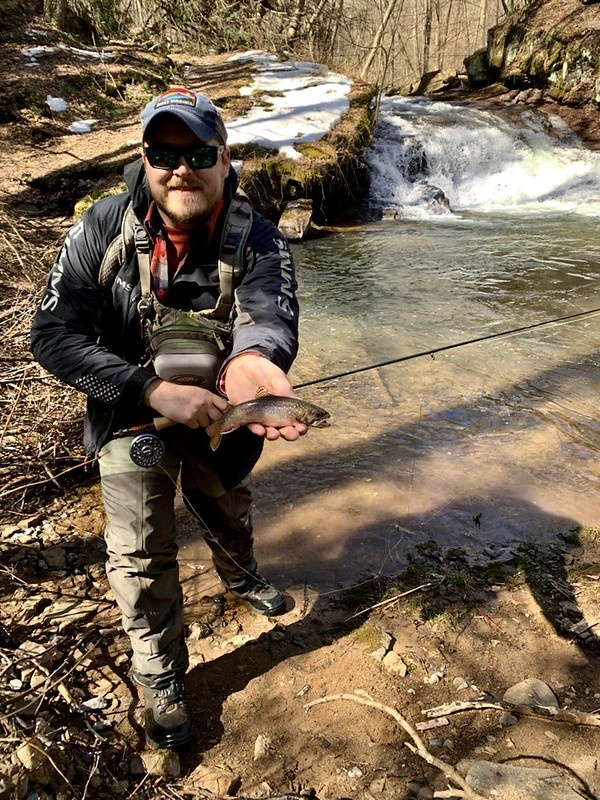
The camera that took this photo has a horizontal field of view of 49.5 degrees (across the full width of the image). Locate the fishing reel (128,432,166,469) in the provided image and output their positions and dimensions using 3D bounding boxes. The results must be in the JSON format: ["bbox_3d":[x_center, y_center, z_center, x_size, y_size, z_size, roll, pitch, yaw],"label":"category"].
[{"bbox_3d":[-0.536,0.176,2.286,0.100,0.102,0.065,-2,20,-4],"label":"fishing reel"}]

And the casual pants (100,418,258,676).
[{"bbox_3d":[-0.453,0.479,2.658,0.557,1.082,0.275,-17,44,-17],"label":"casual pants"}]

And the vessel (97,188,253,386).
[{"bbox_3d":[-0.423,-0.400,2.400,0.597,0.672,0.438,-7,20,-16],"label":"vessel"}]

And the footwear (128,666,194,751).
[{"bbox_3d":[-0.514,1.076,2.340,0.128,0.131,0.324,1,21,-30],"label":"footwear"}]

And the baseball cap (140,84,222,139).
[{"bbox_3d":[-0.427,-1.003,2.356,0.208,0.138,0.282,12,17,-1],"label":"baseball cap"}]

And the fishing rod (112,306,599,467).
[{"bbox_3d":[0.535,-0.044,3.923,4.040,0.333,0.222,-17,8,-20],"label":"fishing rod"}]

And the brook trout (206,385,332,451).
[{"bbox_3d":[-0.103,0.060,2.067,0.456,0.149,0.094,-5,-14,19],"label":"brook trout"}]
